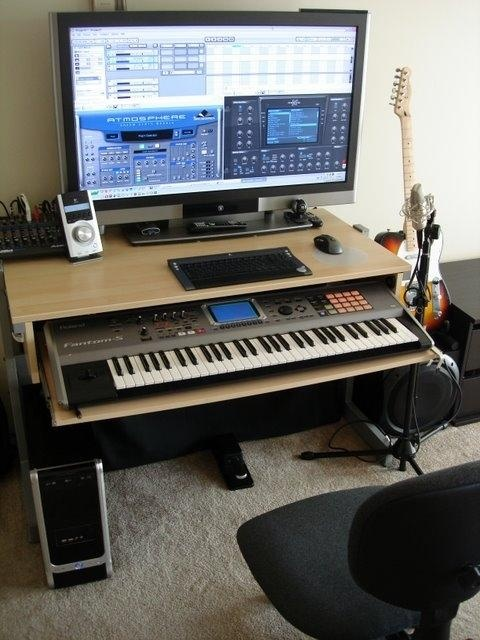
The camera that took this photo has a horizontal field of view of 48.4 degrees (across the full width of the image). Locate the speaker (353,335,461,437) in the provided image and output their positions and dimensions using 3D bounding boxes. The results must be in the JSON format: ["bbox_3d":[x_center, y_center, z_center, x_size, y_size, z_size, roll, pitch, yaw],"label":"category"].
[{"bbox_3d":[0.686,0.280,2.107,0.378,0.315,0.119,-6,19,-10],"label":"speaker"}]

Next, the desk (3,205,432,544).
[{"bbox_3d":[-0.166,0.359,1.888,1.440,0.721,0.897,-12,40,-17],"label":"desk"}]

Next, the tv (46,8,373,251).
[{"bbox_3d":[-0.131,-0.619,1.701,0.886,0.597,0.253,-8,40,-13],"label":"tv"}]

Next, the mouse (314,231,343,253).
[{"bbox_3d":[0.281,-0.254,1.733,0.050,0.032,0.090,-16,31,-29],"label":"mouse"}]
